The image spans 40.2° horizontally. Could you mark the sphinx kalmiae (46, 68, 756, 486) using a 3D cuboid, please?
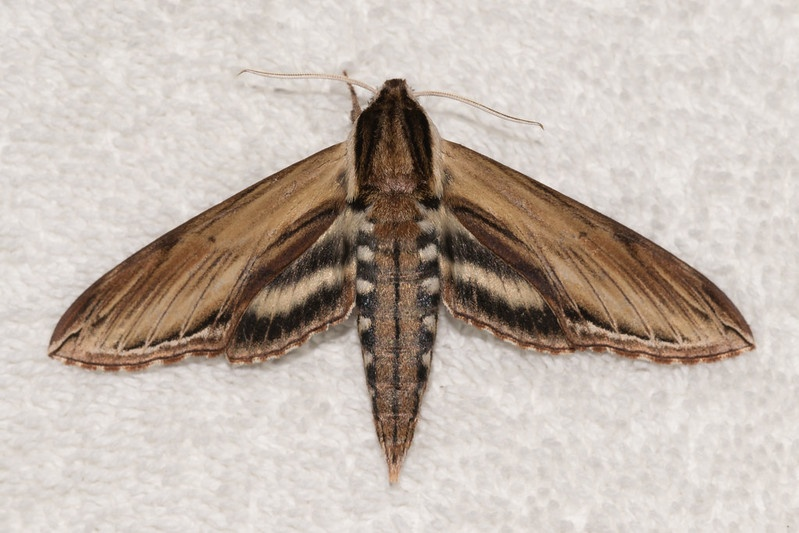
[{"bbox_3d":[-0.037,0.048,3.434,2.230,0.295,1.179,-2,94,-2],"label":"sphinx kalmiae"}]
